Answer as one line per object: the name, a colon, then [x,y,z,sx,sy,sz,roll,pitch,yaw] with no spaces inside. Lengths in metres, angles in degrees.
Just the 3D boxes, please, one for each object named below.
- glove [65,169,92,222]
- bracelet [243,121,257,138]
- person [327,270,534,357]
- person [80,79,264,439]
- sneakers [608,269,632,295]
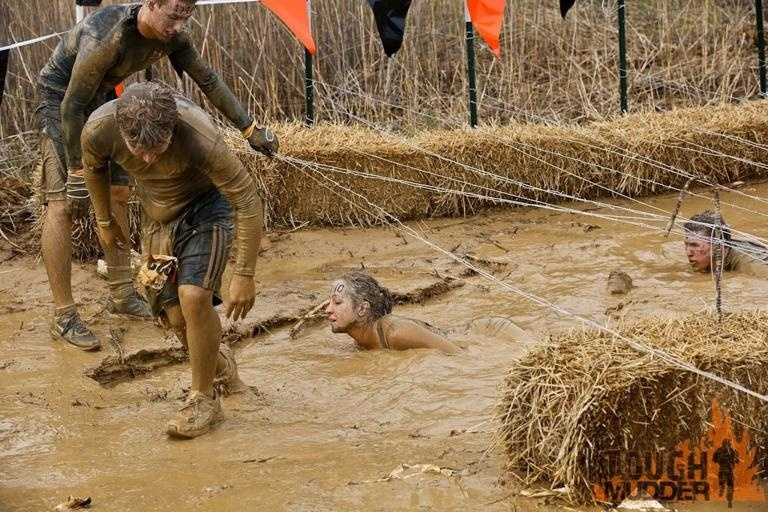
glove: [-2.857,-0.578,10.691,0.328,0.490,0.224,-2,4,11]
bracelet: [-1.273,-1.219,10.955,0.120,0.075,0.155,-24,24,26]
person: [0.333,0.584,11.142,1.530,0.582,0.907,-3,-7,-1]
person: [-1.782,-0.003,9.706,1.445,2.970,0.875,6,16,28]
sneakers: [2.454,0.268,11.731,0.191,0.098,0.267,-6,26,6]
